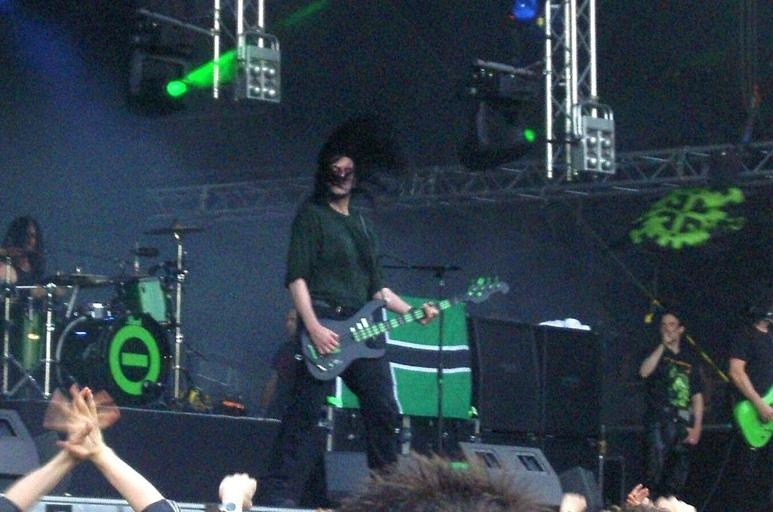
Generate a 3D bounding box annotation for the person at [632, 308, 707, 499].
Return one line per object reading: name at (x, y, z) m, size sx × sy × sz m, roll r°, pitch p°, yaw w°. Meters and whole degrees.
person at (2.567, 1.338, 13.206) m, size 0.556 × 1.587 × 0.568 m, roll 1°, pitch 1°, yaw -14°

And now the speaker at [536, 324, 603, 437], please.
speaker at (1.548, 1.072, 12.791) m, size 0.598 × 0.955 × 0.547 m, roll 0°, pitch 10°, yaw -23°

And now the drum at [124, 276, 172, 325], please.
drum at (-2.315, 0.397, 14.096) m, size 0.539 × 0.356 × 0.754 m, roll -3°, pitch 5°, yaw -23°

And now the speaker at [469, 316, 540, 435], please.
speaker at (0.955, 0.987, 12.564) m, size 0.611 × 0.981 × 0.527 m, roll -5°, pitch 7°, yaw -19°

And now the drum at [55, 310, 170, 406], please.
drum at (-2.506, 0.889, 13.512) m, size 0.943 × 0.951 × 1.065 m, roll -3°, pitch 0°, yaw 37°
